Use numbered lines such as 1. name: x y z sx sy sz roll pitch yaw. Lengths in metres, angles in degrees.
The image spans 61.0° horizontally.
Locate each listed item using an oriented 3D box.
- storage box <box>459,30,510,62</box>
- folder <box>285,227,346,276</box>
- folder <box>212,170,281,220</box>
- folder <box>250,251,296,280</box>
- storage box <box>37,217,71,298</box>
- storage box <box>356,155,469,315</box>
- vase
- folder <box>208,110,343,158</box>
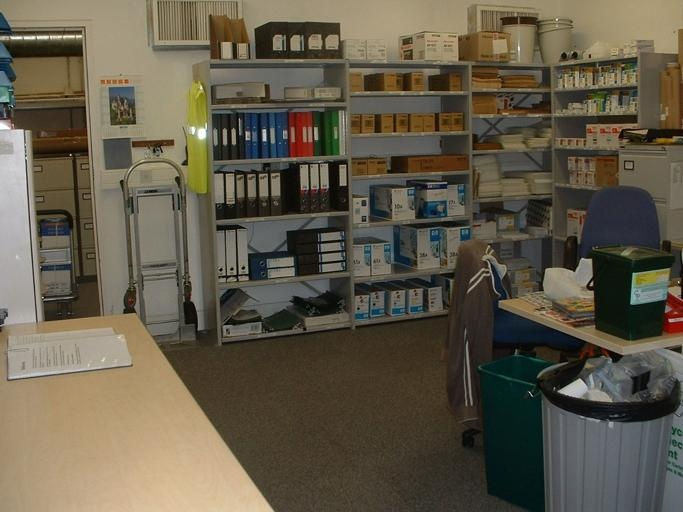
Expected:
1. storage box: 1.411 -1.997 5.740 0.354 0.251 0.362 -2 7 -16
2. folder: -0.209 -0.046 5.387 0.432 0.348 0.448 -3 3 -22
3. folder: -0.838 -0.553 5.175 0.585 0.409 0.126 -4 12 -14
4. folder: -0.641 0.099 5.365 0.431 0.200 0.207 -3 12 -10
5. storage box: -3.179 -0.024 6.457 0.339 0.798 1.651 -7 14 -26
6. storage box: 0.675 -0.202 5.518 1.052 1.442 1.433 -5 6 -33
7. vase: 2.008 -2.249 5.957 0.600 0.380 0.577 -6 8 -42
8. folder: -0.549 -1.089 5.198 1.207 0.405 0.100 -5 12 -17
